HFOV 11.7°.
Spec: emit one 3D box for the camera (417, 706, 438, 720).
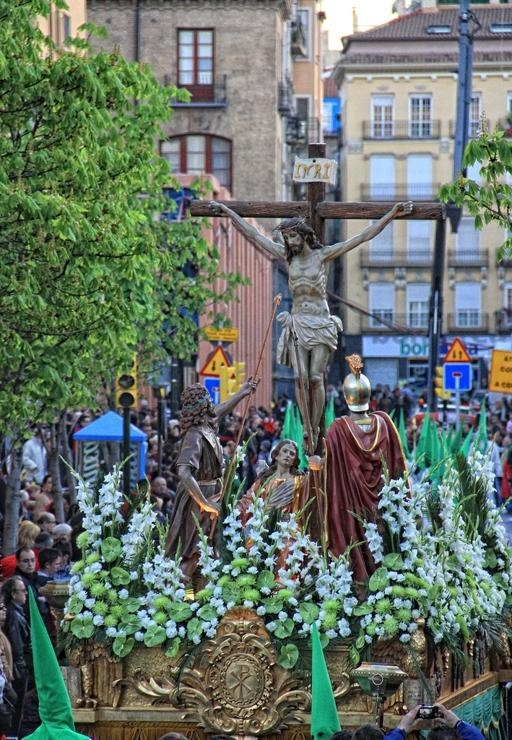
[{"bbox_3d":[1.144,2.242,16.411,0.143,0.095,0.171,2,0,4],"label":"camera"}]
